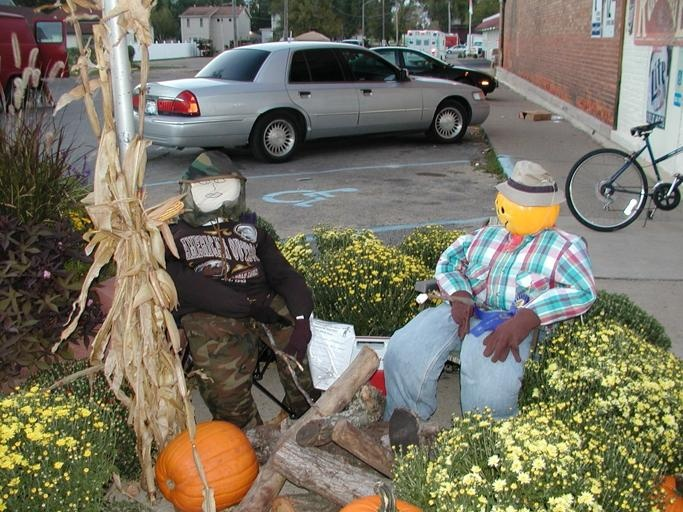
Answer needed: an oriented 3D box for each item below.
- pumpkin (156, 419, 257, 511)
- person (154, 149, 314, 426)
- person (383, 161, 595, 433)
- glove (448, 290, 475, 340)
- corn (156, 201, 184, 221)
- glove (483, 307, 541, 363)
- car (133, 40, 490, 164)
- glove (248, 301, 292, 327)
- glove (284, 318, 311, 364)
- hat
[{"bbox_3d":[-0.704,1.105,2.804,0.502,0.375,0.420,-2,50,-39],"label":"pumpkin"},{"bbox_3d":[-0.736,0.210,3.369,0.819,1.759,0.627,-15,-2,-29],"label":"person"},{"bbox_3d":[0.874,0.239,3.052,1.059,1.453,0.861,-16,23,-35],"label":"person"},{"bbox_3d":[0.710,0.298,3.096,0.105,0.201,0.106,-8,3,35],"label":"glove"},{"bbox_3d":[-0.878,-0.234,2.688,0.137,0.076,0.040,-31,11,-30],"label":"corn"},{"bbox_3d":[0.950,0.448,2.908,0.342,0.268,0.144,-11,20,-21],"label":"glove"},{"bbox_3d":[-0.562,-3.269,10.955,6.821,2.362,0.930,-12,21,-25],"label":"car"},{"bbox_3d":[-0.449,0.367,3.252,0.299,0.119,0.096,31,32,-30],"label":"glove"},{"bbox_3d":[-0.252,0.502,3.117,0.145,0.260,0.069,3,-1,-10],"label":"glove"},{"bbox_3d":[1.145,-0.442,3.116,0.370,0.236,0.299,-4,19,-5],"label":"hat"}]
